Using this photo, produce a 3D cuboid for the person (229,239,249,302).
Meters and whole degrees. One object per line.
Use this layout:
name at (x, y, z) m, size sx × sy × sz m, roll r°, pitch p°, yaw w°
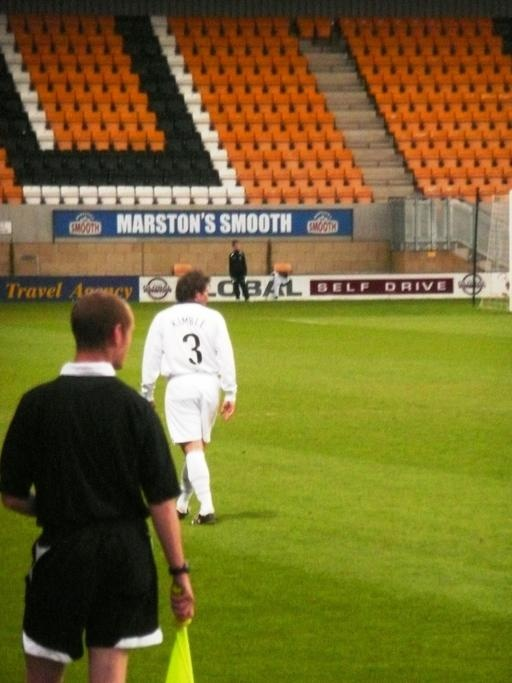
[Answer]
person at (-0.386, -1.557, 26.629) m, size 0.314 × 1.531 × 0.350 m, roll -10°, pitch 35°, yaw -8°
